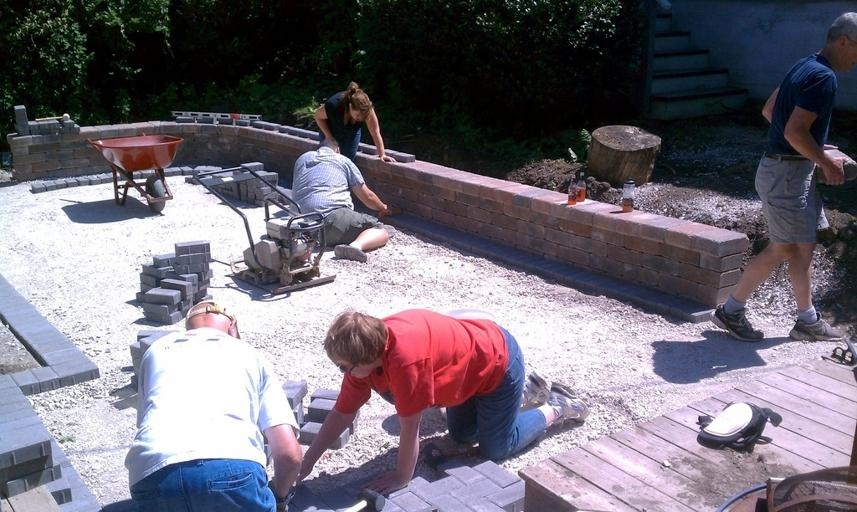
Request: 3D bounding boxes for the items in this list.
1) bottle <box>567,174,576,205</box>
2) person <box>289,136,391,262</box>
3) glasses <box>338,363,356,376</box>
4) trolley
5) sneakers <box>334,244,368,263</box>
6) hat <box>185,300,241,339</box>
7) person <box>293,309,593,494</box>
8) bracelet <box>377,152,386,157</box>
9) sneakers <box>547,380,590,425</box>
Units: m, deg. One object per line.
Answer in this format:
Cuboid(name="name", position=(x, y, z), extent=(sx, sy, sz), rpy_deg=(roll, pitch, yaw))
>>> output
Cuboid(name="bottle", position=(1.706, -0.743, 8.097), extent=(0.103, 0.234, 0.127), rpy_deg=(2, 29, 10))
Cuboid(name="person", position=(-1.283, -0.749, 9.029), extent=(1.609, 0.895, 2.219), rpy_deg=(5, 36, -5))
Cuboid(name="glasses", position=(-0.618, 0.849, 5.090), extent=(0.120, 0.038, 0.121), rpy_deg=(11, 20, -9))
Cuboid(name="trolley", position=(-4.427, -1.294, 10.443), extent=(1.196, 0.951, 1.845), rpy_deg=(-7, 16, -39))
Cuboid(name="sneakers", position=(-0.994, -0.035, 8.631), extent=(0.415, 0.189, 0.185), rpy_deg=(16, 18, 16))
Cuboid(name="hat", position=(-1.679, 0.448, 5.243), extent=(0.299, 0.337, 0.336), rpy_deg=(1, 17, 1))
Cuboid(name="person", position=(0.235, 0.851, 5.733), extent=(2.420, 1.314, 0.991), rpy_deg=(-12, 22, -17))
Cuboid(name="bracelet", position=(-0.685, -1.470, 9.812), extent=(0.092, 0.066, 0.090), rpy_deg=(-10, 23, -26))
Cuboid(name="sneakers", position=(1.261, 1.357, 6.110), extent=(0.231, 0.521, 0.189), rpy_deg=(-45, 23, -1))
